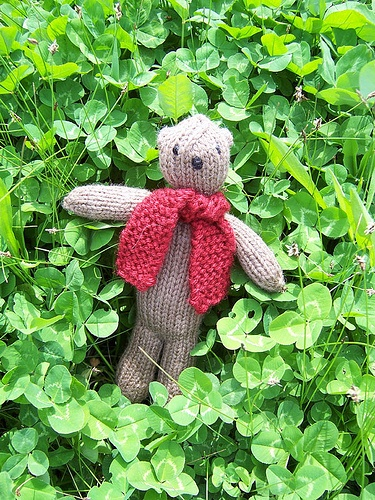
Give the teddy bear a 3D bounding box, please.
[{"bbox_3d":[-0.024,0.053,1.189,0.478,0.658,0.496,-17,46,-12],"label":"teddy bear"}]
